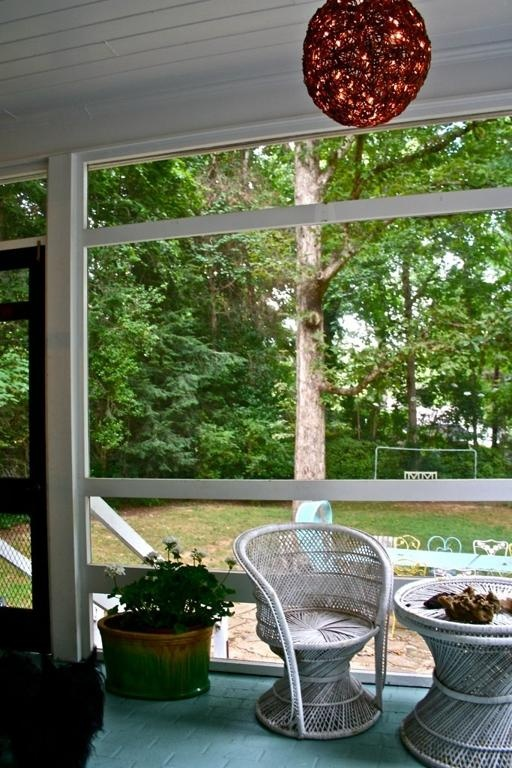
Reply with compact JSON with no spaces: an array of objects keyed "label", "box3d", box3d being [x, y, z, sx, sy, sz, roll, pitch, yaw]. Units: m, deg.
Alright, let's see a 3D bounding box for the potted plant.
[{"label":"potted plant","box3d":[-0.345,1.008,3.196,0.649,0.754,0.722,-6,-10,29]}]
